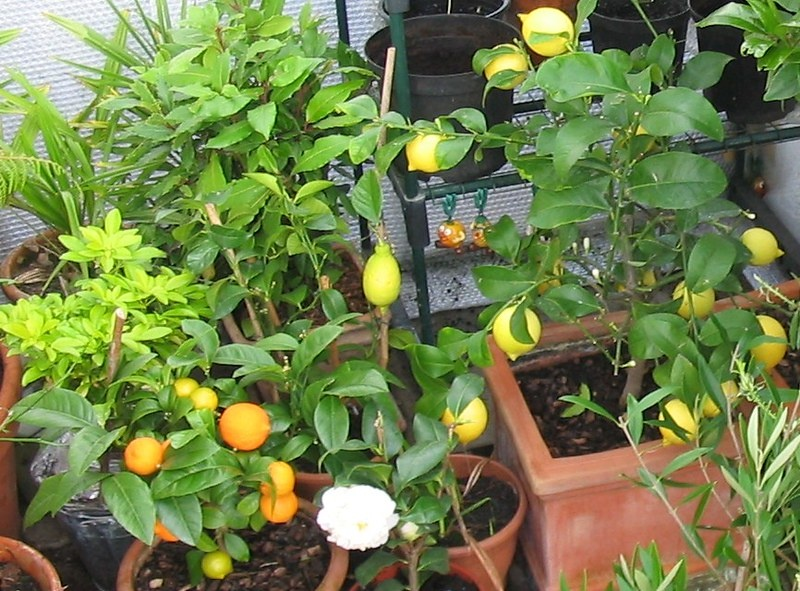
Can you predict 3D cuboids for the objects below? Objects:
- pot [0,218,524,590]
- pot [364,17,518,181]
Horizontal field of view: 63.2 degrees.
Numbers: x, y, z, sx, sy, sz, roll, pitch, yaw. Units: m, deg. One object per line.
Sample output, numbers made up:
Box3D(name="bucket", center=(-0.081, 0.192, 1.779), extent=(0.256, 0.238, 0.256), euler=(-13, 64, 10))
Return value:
Box3D(name="pot", center=(-0.294, 0.151, 1.022), extent=(0.536, 0.588, 0.441), euler=(-12, 17, -3))
Box3D(name="pot", center=(0.090, -0.429, 1.423), extent=(0.439, 0.272, 0.369), euler=(-11, 32, -4))
